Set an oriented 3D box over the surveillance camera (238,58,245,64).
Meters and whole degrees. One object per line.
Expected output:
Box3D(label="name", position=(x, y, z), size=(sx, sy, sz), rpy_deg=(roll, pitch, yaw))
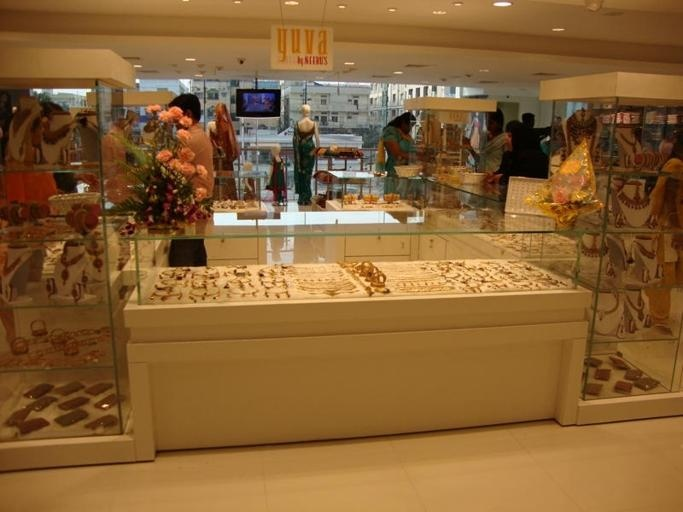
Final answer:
Box3D(label="surveillance camera", position=(-1.637, -3.217, 8.469), size=(0.130, 0.036, 0.124), rpy_deg=(-2, -16, -2))
